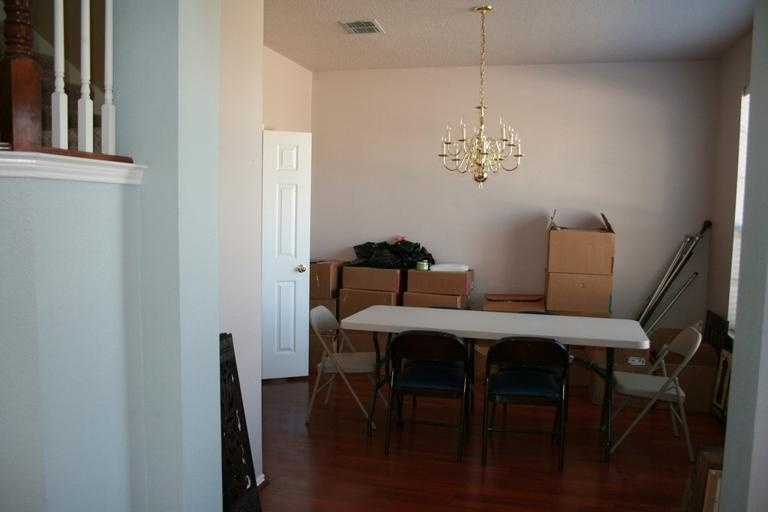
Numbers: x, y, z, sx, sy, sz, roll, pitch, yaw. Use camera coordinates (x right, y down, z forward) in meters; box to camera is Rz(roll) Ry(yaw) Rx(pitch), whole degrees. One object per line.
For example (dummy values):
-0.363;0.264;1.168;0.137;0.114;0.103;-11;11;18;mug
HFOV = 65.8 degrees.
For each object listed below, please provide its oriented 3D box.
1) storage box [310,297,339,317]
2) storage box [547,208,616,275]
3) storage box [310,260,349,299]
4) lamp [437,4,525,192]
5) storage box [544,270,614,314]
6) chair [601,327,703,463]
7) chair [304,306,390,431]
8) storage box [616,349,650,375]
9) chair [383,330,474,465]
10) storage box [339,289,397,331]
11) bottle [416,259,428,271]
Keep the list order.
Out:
-0.594;0.551;6.637;0.216;0.142;0.219;0;-2;9;storage box
2.045;-0.139;6.166;0.555;0.586;0.587;3;1;11;storage box
-0.625;0.254;6.897;0.318;0.384;0.593;2;3;10;storage box
1.050;-1.510;6.020;0.961;1.660;2.104;1;10;6;lamp
2.010;0.378;6.148;0.478;0.310;0.480;2;0;15;storage box
2.175;1.068;4.867;0.707;1.017;0.706;3;5;-4;chair
-0.367;0.911;5.715;0.922;1.333;0.804;0;4;14;chair
2.305;0.982;5.573;0.240;0.163;0.238;2;7;19;storage box
0.388;0.995;4.840;0.652;1.007;0.800;2;10;8;chair
-0.214;0.566;6.385;0.600;0.341;0.431;1;-1;10;storage box
0.466;0.097;6.680;0.108;0.078;0.097;-6;10;-36;bottle
